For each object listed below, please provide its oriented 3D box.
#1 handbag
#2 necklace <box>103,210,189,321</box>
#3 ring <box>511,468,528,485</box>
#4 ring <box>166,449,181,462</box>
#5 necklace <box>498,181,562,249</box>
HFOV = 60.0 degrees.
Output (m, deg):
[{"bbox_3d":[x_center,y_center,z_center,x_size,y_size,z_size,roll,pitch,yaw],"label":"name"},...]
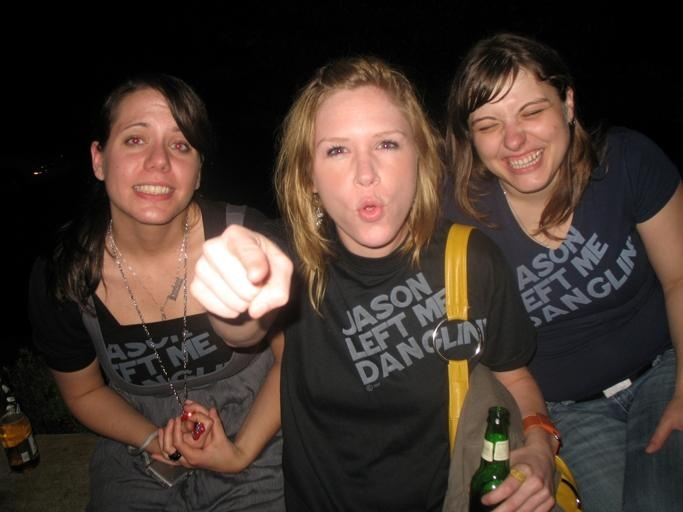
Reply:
[{"bbox_3d":[0.938,0.671,3.866,0.793,1.652,0.367,-4,-11,14],"label":"handbag"},{"bbox_3d":[-1.355,-0.004,4.210,0.470,0.858,0.201,-10,1,-4],"label":"necklace"},{"bbox_3d":[1.038,1.278,3.435,0.021,0.079,0.074,-47,13,-27],"label":"ring"},{"bbox_3d":[-1.154,1.372,4.067,0.077,0.082,0.031,17,11,-10],"label":"ring"},{"bbox_3d":[1.341,-0.272,4.266,0.272,0.500,0.113,-25,-7,-8],"label":"necklace"}]
